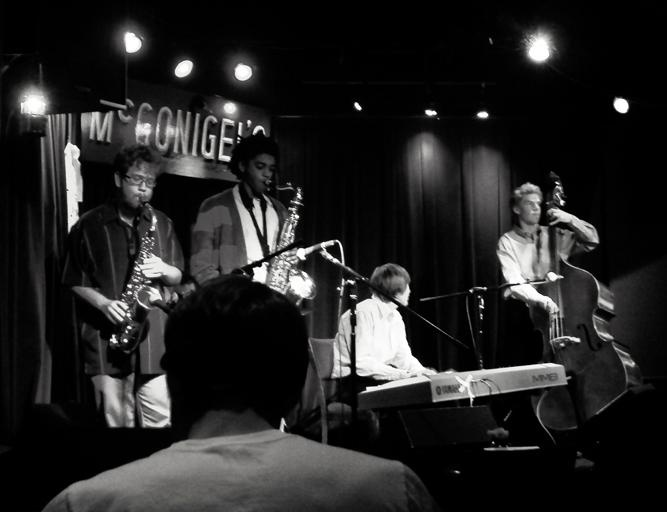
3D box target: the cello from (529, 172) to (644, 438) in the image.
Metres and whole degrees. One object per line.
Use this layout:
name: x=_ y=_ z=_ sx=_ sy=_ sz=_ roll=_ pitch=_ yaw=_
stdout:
cello: x=1.841 y=0.326 z=5.789 sx=0.812 sy=2.099 sz=0.429 roll=-25 pitch=-38 yaw=39

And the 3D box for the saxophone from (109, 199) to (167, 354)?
saxophone: x=-1.405 y=0.161 z=5.235 sx=0.355 sy=1.229 sz=0.273 roll=13 pitch=24 yaw=6

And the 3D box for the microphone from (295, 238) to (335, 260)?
microphone: x=-0.147 y=-0.045 z=5.744 sx=0.335 sy=0.089 sz=0.098 roll=-22 pitch=8 yaw=8
